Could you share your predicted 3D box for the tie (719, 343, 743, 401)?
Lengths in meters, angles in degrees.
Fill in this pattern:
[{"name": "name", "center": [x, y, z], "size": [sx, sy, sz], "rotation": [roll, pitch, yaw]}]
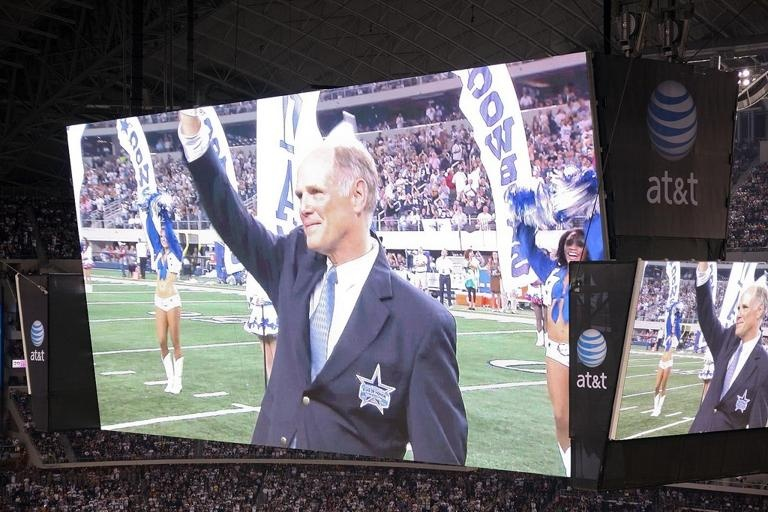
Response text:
[{"name": "tie", "center": [3.790, 1.255, 7.345], "size": [0.102, 0.825, 0.041], "rotation": [20, 21, 27]}]
